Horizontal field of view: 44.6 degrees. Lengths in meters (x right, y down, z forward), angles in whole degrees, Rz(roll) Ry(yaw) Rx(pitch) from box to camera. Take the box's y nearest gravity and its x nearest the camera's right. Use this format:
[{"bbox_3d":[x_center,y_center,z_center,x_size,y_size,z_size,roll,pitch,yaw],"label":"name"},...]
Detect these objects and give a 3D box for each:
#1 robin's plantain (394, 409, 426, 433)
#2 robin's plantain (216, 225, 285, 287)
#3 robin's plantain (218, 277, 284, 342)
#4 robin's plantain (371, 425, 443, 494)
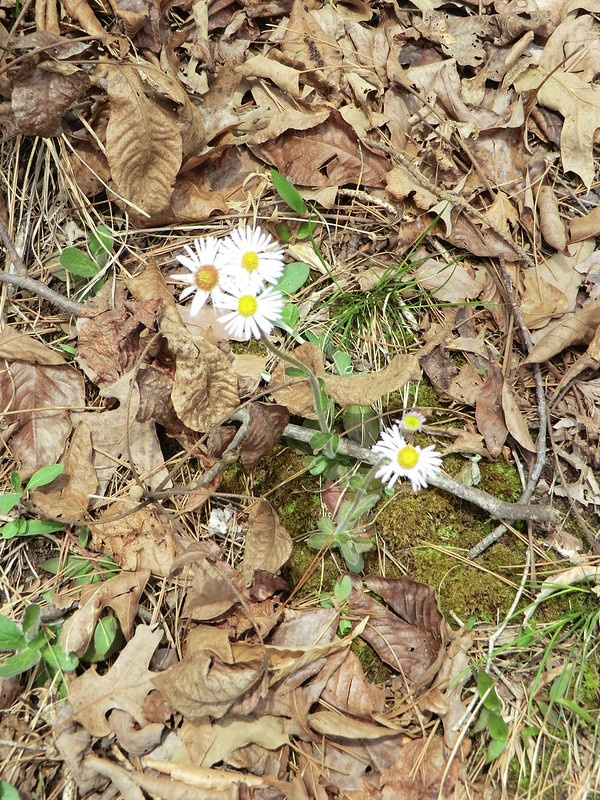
[{"bbox_3d":[0.345,0.063,2.246,0.073,0.028,0.072,10,56,22],"label":"robin's plantain"},{"bbox_3d":[-0.142,-0.372,1.903,0.206,0.080,0.200,-2,75,-18],"label":"robin's plantain"},{"bbox_3d":[-0.121,-0.221,1.802,0.141,0.186,0.179,6,77,-2],"label":"robin's plantain"},{"bbox_3d":[0.278,0.181,2.085,0.198,0.066,0.191,30,63,7],"label":"robin's plantain"}]
